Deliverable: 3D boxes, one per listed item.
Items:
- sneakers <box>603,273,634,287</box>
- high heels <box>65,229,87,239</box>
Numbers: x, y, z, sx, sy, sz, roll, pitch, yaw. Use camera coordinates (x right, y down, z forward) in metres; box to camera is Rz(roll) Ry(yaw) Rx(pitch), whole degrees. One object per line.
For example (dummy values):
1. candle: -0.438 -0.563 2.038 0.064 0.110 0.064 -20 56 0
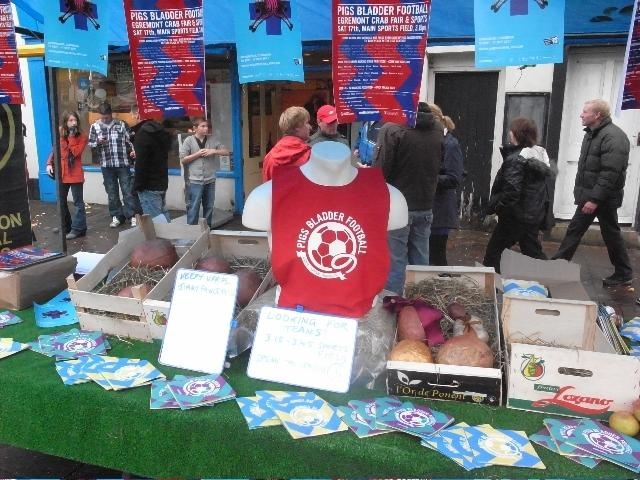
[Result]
1. sneakers: 3.158 0.438 4.793 0.344 0.144 0.121 1 3 -20
2. high heels: -3.554 -0.084 6.577 0.131 0.142 0.342 2 1 25
